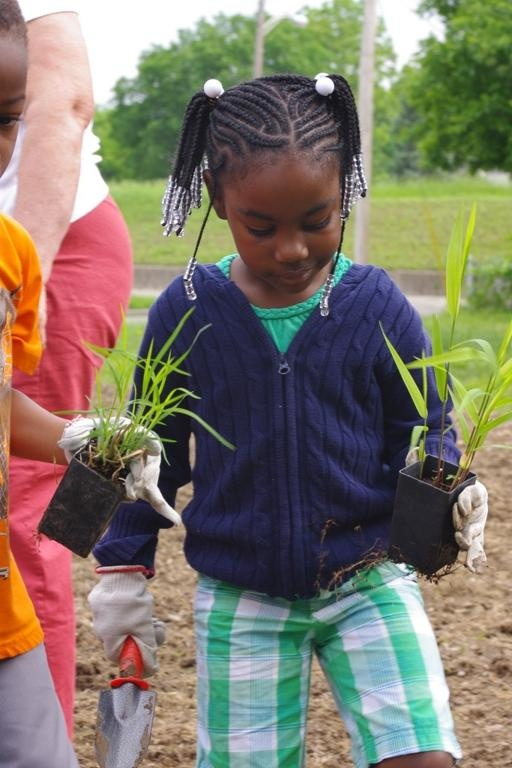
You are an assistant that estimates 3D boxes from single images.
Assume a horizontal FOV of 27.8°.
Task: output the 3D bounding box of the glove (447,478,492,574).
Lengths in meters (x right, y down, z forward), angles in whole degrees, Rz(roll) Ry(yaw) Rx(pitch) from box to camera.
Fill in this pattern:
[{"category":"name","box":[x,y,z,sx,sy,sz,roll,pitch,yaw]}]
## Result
[{"category":"glove","box":[0.395,0.277,1.960,0.104,0.150,0.071,-8,2,-37]}]
